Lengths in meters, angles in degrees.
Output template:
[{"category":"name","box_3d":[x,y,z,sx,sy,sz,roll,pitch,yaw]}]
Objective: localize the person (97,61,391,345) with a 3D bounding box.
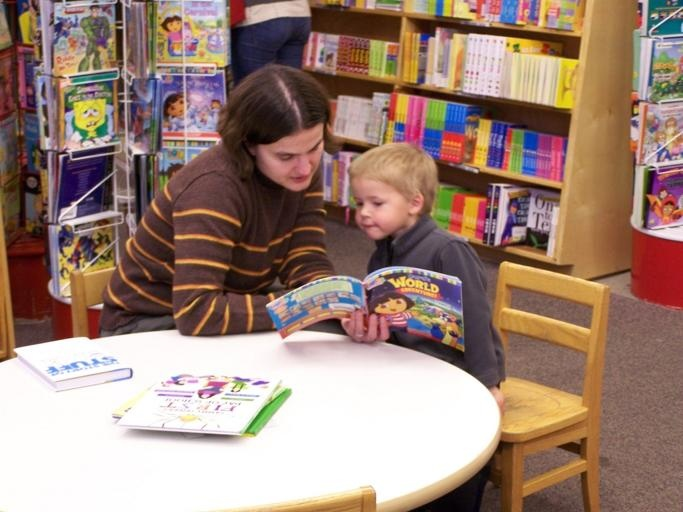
[{"category":"person","box_3d":[-0.418,-0.287,1.936,0.940,0.942,0.687,26,33,27]}]

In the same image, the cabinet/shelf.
[{"category":"cabinet/shelf","box_3d":[0.979,-0.757,3.613,2.038,1.911,0.674,12,18,41]}]
